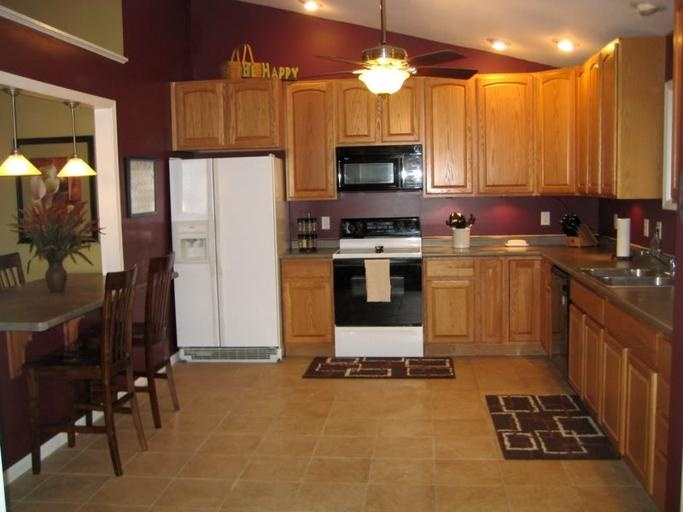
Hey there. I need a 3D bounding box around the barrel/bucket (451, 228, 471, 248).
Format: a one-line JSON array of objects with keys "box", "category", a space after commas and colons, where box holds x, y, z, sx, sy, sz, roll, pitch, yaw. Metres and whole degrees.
[{"box": [1.227, -0.172, 5.544, 0.215, 0.193, 0.179, -1, 6, -7], "category": "barrel/bucket"}]

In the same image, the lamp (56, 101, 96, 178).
[{"box": [-2.190, -0.921, 4.467, 0.271, 0.592, 0.883, -8, 12, -25], "category": "lamp"}]

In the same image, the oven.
[{"box": [0.252, 0.547, 5.642, 0.999, 0.983, 0.752, 3, -4, -17], "category": "oven"}]

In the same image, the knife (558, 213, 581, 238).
[{"box": [2.283, -0.293, 5.397, 0.225, 0.237, 0.411, -4, 1, 26], "category": "knife"}]

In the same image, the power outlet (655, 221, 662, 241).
[{"box": [2.488, -0.193, 4.261, 0.032, 0.138, 0.110, 1, 11, 15], "category": "power outlet"}]

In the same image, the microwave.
[{"box": [0.378, -0.857, 5.394, 0.838, 0.440, 0.194, 0, 11, 11], "category": "microwave"}]

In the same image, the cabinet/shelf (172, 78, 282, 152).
[{"box": [-1.091, -1.370, 5.293, 0.749, 0.427, 0.231, 0, 1, 4], "category": "cabinet/shelf"}]

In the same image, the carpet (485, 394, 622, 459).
[{"box": [1.446, 1.201, 3.844, 0.728, 0.027, 0.828, -1, 11, 6], "category": "carpet"}]

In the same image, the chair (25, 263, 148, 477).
[{"box": [-1.682, 0.710, 3.728, 0.741, 1.322, 0.895, -3, 11, -5], "category": "chair"}]

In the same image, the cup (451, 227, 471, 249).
[{"box": [1.224, -0.171, 5.655, 0.218, 0.213, 0.194, -2, 9, -11], "category": "cup"}]

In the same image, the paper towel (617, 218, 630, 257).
[{"box": [2.295, -0.134, 4.422, 0.094, 0.312, 0.064, 2, 12, 19], "category": "paper towel"}]

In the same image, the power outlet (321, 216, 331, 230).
[{"box": [-0.161, -0.344, 5.861, 0.103, 0.143, 0.020, -1, 11, 4], "category": "power outlet"}]

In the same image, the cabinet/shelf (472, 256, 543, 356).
[{"box": [1.593, 0.441, 5.219, 0.610, 0.833, 0.179, -3, 11, -2], "category": "cabinet/shelf"}]

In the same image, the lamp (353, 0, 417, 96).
[{"box": [0.306, -1.322, 3.450, 0.336, 0.632, 0.619, 0, 11, 12], "category": "lamp"}]
